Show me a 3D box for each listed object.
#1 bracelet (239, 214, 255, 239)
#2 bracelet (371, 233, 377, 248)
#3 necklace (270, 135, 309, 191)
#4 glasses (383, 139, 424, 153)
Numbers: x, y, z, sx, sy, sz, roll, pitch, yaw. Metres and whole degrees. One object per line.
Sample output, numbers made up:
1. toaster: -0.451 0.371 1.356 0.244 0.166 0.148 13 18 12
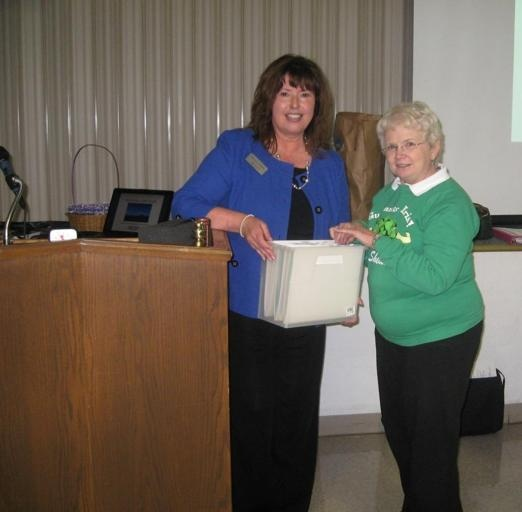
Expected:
1. bracelet: -0.049 -0.093 1.691 0.014 0.063 0.059 11 19 16
2. bracelet: 0.347 -0.046 1.653 0.019 0.038 0.040 -2 11 -5
3. necklace: 0.112 -0.326 1.832 0.104 0.177 0.057 -1 -15 -17
4. glasses: 0.442 -0.340 1.699 0.133 0.032 0.056 6 13 31
